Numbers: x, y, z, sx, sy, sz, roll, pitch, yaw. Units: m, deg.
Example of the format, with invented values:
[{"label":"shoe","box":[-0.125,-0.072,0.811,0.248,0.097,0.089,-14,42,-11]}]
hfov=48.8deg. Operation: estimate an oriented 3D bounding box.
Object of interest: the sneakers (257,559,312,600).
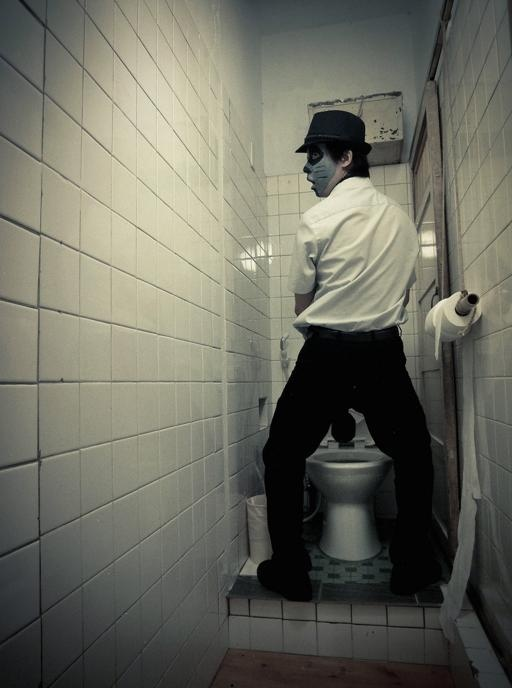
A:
[{"label":"sneakers","box":[0.085,0.689,1.713,0.085,0.117,0.139,3,-8,-43]}]

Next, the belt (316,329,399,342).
[{"label":"belt","box":[0.310,-0.033,1.723,0.236,0.039,0.053,-1,3,-4]}]

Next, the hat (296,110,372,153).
[{"label":"hat","box":[0.250,-0.682,1.850,0.213,0.150,0.185,13,5,23]}]

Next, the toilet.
[{"label":"toilet","box":[0.348,0.588,2.131,0.237,0.397,0.376,-2,-5,8]}]

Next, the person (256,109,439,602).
[{"label":"person","box":[0.273,0.114,1.763,0.545,1.290,0.306,0,2,-3]}]

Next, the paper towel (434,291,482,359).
[{"label":"paper towel","box":[0.513,-0.055,1.446,0.095,0.165,0.209,0,3,3]}]

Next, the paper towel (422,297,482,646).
[{"label":"paper towel","box":[0.523,0.313,1.512,0.125,0.909,0.311,0,2,12]}]
